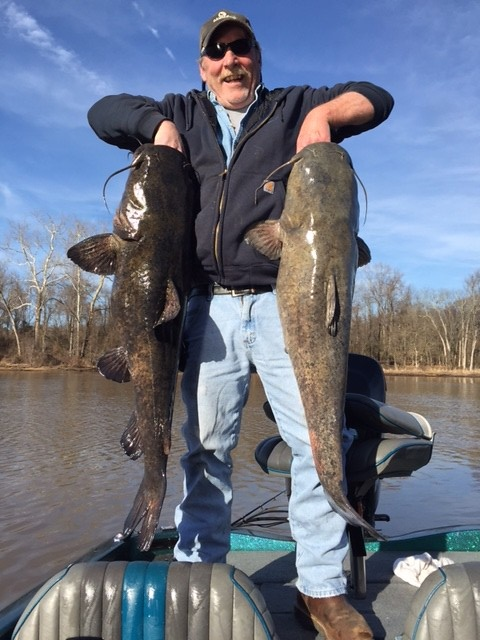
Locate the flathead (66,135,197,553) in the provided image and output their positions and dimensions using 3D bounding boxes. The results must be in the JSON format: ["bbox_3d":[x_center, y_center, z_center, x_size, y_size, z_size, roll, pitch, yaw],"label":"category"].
[{"bbox_3d":[-0.337,0.136,3.060,0.763,1.843,0.621,6,-5,-30],"label":"flathead"}]

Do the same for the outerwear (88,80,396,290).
[{"bbox_3d":[-0.003,-0.557,2.815,1.110,0.973,0.314,6,-15,-5],"label":"outerwear"}]
